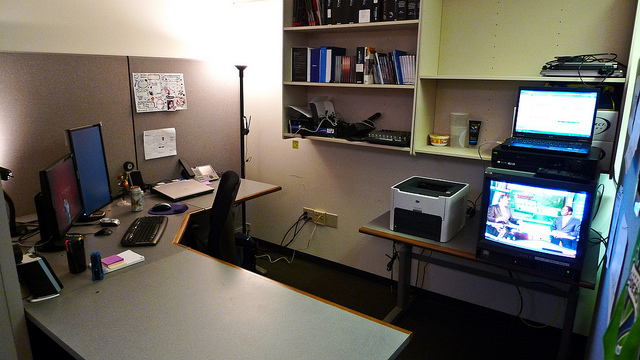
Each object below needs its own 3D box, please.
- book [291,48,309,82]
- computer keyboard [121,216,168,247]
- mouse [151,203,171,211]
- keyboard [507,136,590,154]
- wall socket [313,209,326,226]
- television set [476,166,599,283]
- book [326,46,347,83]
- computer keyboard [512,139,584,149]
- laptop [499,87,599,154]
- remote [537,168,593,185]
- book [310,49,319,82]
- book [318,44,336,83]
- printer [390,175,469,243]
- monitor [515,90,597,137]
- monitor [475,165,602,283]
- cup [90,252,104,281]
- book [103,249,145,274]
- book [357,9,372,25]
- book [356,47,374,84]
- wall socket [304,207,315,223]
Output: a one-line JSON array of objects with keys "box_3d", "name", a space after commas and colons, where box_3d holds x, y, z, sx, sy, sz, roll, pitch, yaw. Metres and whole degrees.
[{"box_3d": [-0.214, -1.166, 4.246, 0.219, 0.322, 0.075, 10, 22, 24], "name": "book"}, {"box_3d": [-1.435, 0.414, 3.485, 0.272, 0.069, 0.392, 5, 29, -6], "name": "computer keyboard"}, {"box_3d": [-1.443, 0.242, 3.820, 0.123, 0.033, 0.082, 2, 8, 0], "name": "mouse"}, {"box_3d": [1.781, -0.278, 3.288, 0.564, 0.050, 0.218, 8, 20, 22], "name": "keyboard"}, {"box_3d": [-0.004, 0.404, 4.663, 0.181, 0.149, 0.087, 8, 14, 25], "name": "wall socket"}, {"box_3d": [1.673, 0.347, 3.524, 0.953, 0.828, 0.931, 8, 8, 29], "name": "television set"}, {"box_3d": [0.148, -1.119, 4.112, 0.177, 0.299, 0.340, 4, 11, 14], "name": "book"}, {"box_3d": [1.787, -0.287, 3.298, 0.472, 0.019, 0.128, 8, 19, 20], "name": "computer keyboard"}, {"box_3d": [1.762, -0.451, 3.241, 0.646, 0.387, 0.505, 8, 27, 28], "name": "laptop"}, {"box_3d": [1.811, -0.023, 3.125, 0.363, 0.056, 0.066, 7, 20, 19], "name": "remote"}, {"box_3d": [-0.060, -1.141, 4.178, 0.088, 0.305, 0.075, 2, 20, 4], "name": "book"}, {"box_3d": [0.067, -1.132, 4.132, 0.211, 0.300, 0.347, 4, 13, 17], "name": "book"}, {"box_3d": [0.975, 0.203, 3.709, 0.598, 0.390, 0.582, 8, 13, 33], "name": "printer"}, {"box_3d": [1.856, -0.531, 3.348, 0.680, 0.388, 0.380, 9, 15, 25], "name": "monitor"}, {"box_3d": [1.792, 0.255, 3.538, 0.785, 0.704, 1.054, 11, 17, 27], "name": "monitor"}, {"box_3d": [-1.617, 0.606, 3.038, 0.084, 0.192, 0.183, -11, 22, -28], "name": "cup"}, {"box_3d": [-1.494, 0.606, 3.176, 0.281, 0.072, 0.180, -10, 21, -30], "name": "book"}, {"box_3d": [0.412, -1.507, 3.866, 0.163, 0.131, 0.051, 13, 22, 24], "name": "book"}, {"box_3d": [0.425, -1.085, 3.961, 0.120, 0.302, 0.343, 3, 10, 16], "name": "book"}, {"box_3d": [-0.117, 0.384, 4.719, 0.170, 0.167, 0.021, 14, 22, 27], "name": "wall socket"}]
